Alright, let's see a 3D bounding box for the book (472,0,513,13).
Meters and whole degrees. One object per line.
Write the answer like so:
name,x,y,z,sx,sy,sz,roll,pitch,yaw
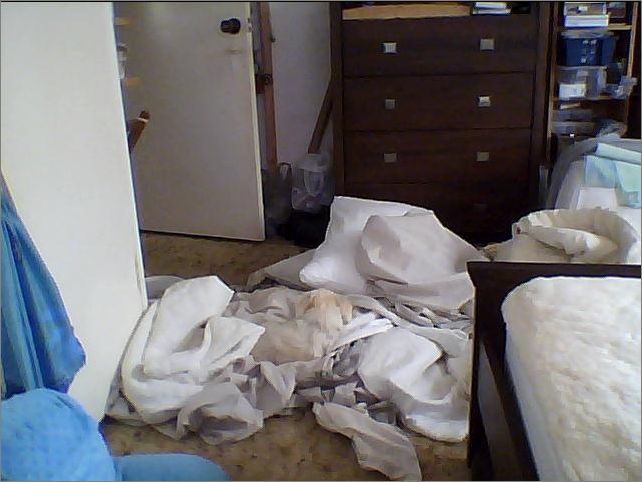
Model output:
book,0.872,-1.172,2.481,0.223,0.059,0.091,-12,30,-24
